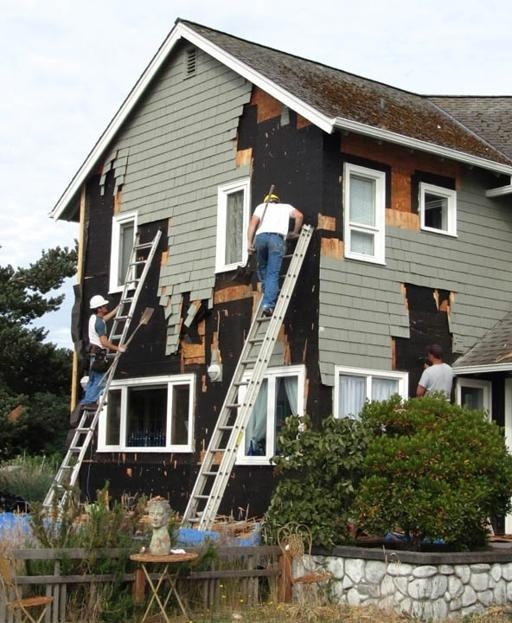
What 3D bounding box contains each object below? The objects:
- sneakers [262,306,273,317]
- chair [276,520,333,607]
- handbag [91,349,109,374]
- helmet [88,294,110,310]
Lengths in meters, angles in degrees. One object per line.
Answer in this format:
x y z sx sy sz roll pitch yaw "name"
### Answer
0.170 -0.007 16.612 0.089 0.108 0.115 -8 -9 30 "sneakers"
0.610 2.978 14.756 0.611 0.914 0.501 2 -5 6 "chair"
-2.307 0.742 19.208 0.272 0.358 0.267 5 -9 -19 "handbag"
-2.303 -0.144 19.221 0.257 0.129 0.251 -21 2 -25 "helmet"
